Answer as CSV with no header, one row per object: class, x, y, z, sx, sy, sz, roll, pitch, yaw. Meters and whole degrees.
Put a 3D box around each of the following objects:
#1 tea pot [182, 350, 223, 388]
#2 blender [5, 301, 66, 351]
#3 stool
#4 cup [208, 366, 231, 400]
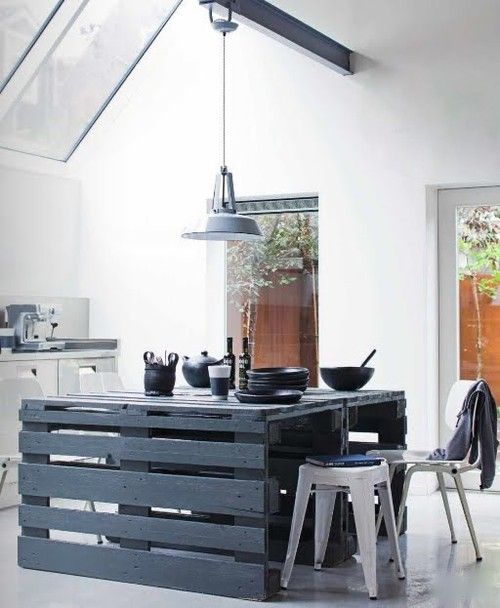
tea pot,-0.265,0.324,3.365,0.207,0.161,0.166,-3,-4,43
blender,-1.494,0.151,4.723,0.414,0.313,0.309,-2,-1,30
stool,0.342,0.785,2.471,0.407,0.461,0.498,-2,-7,19
cup,-0.100,0.320,2.809,0.114,0.142,0.115,1,-2,0
